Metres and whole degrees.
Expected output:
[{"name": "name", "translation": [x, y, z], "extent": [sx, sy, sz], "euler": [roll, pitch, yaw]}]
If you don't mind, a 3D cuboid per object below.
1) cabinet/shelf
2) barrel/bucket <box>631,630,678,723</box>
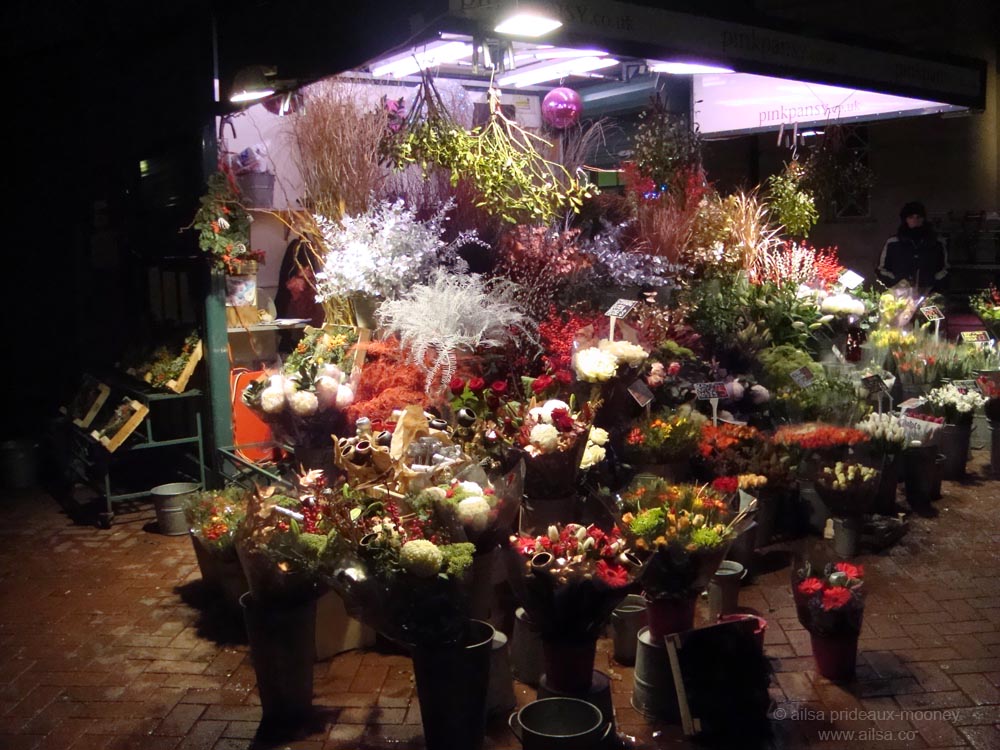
[{"name": "cabinet/shelf", "translation": [-3.336, 0.520, 6.818], "extent": [1.147, 1.137, 2.167], "euler": [-4, 8, -33]}, {"name": "barrel/bucket", "translation": [0.781, 1.470, 3.760], "extent": [0.319, 0.346, 0.314], "euler": [-3, 12, 1]}]
